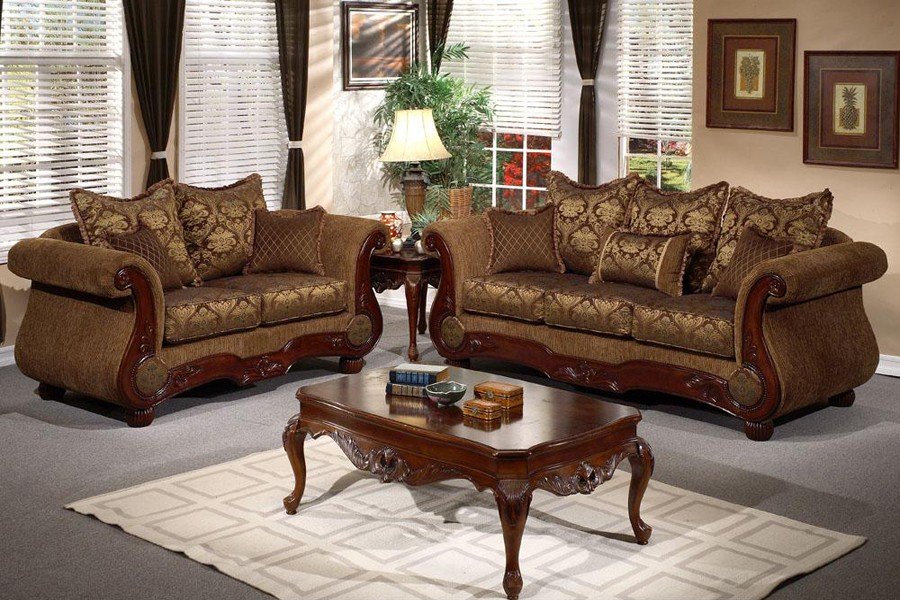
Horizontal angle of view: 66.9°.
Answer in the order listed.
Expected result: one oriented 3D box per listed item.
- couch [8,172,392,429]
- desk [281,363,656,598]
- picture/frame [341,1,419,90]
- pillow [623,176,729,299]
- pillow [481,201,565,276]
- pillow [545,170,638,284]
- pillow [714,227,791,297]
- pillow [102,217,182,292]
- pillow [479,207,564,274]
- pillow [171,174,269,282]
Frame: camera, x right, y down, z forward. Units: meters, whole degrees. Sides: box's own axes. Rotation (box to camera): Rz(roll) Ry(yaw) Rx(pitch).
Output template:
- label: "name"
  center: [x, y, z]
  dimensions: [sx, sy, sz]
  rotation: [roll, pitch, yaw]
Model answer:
- label: "couch"
  center: [-1.797, 0.047, 4.754]
  dimensions: [0.895, 1.064, 1.877]
  rotation: [6, 9, 41]
- label: "desk"
  center: [0.316, 0.512, 3.028]
  dimensions: [1.232, 0.457, 0.951]
  rotation: [9, 12, 41]
- label: "picture/frame"
  center: [-0.789, -2.752, 7.366]
  dimensions: [1.122, 1.037, 0.077]
  rotation: [-7, 12, -36]
- label: "pillow"
  center: [1.666, -0.435, 4.889]
  dimensions: [0.245, 0.755, 0.804]
  rotation: [8, 4, -43]
- label: "pillow"
  center: [0.579, -0.455, 5.308]
  dimensions: [0.636, 0.550, 0.210]
  rotation: [-1, -10, 2]
- label: "pillow"
  center: [1.064, -0.516, 5.151]
  dimensions: [0.834, 0.784, 0.329]
  rotation: [9, -6, 34]
- label: "pillow"
  center: [1.991, -0.191, 4.484]
  dimensions: [0.150, 0.431, 0.449]
  rotation: [23, 24, -21]
- label: "pillow"
  center: [-2.123, -0.297, 4.711]
  dimensions: [0.348, 0.470, 0.334]
  rotation: [6, 14, 26]
- label: "pillow"
  center: [0.565, -0.441, 5.304]
  dimensions: [0.552, 0.476, 0.182]
  rotation: [-1, -11, 2]
- label: "pillow"
  center: [-1.745, -0.517, 5.198]
  dimensions: [0.886, 0.826, 0.326]
  rotation: [-15, 6, -29]
